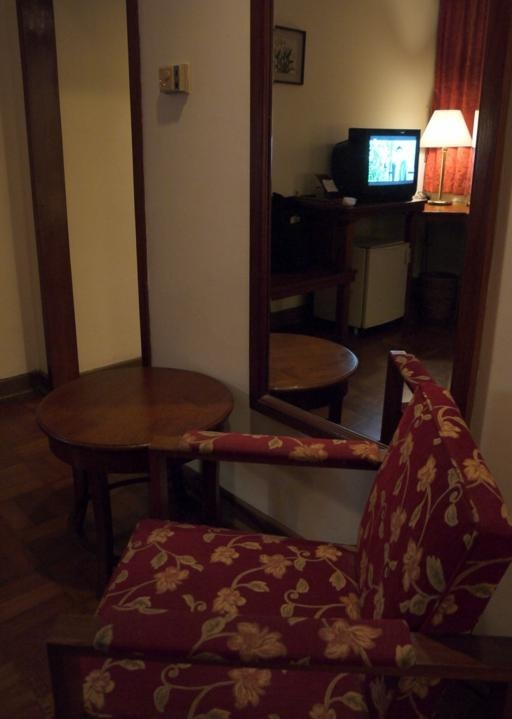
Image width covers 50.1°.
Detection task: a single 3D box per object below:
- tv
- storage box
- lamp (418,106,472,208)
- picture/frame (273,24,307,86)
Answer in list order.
[{"bbox_3d":[0.236,-0.387,1.071,0.061,0.142,0.244,-6,14,-25],"label":"tv"},{"bbox_3d":[0.243,-0.168,1.201,0.159,0.263,0.157,-21,29,-39],"label":"storage box"},{"bbox_3d":[0.317,-0.349,0.942,0.078,0.156,0.032,7,13,35],"label":"lamp"},{"bbox_3d":[0.076,-0.675,1.197,0.008,0.129,0.119,-14,26,-31],"label":"picture/frame"}]
